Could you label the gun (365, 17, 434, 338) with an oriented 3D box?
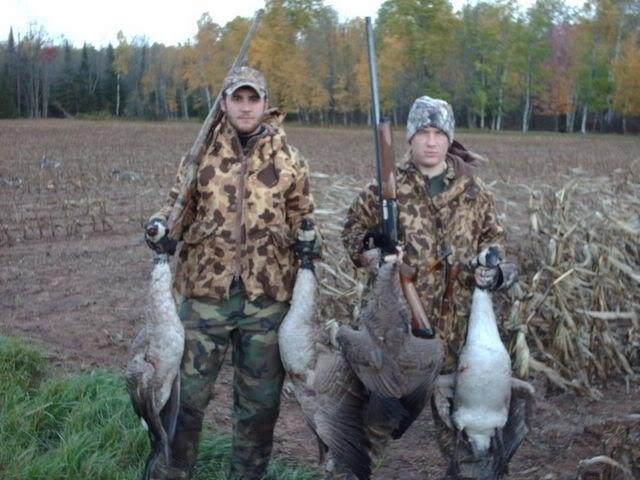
[{"bbox_3d":[0.593,-0.549,6.403,0.845,2.815,0.956,1,3,6],"label":"gun"}]
